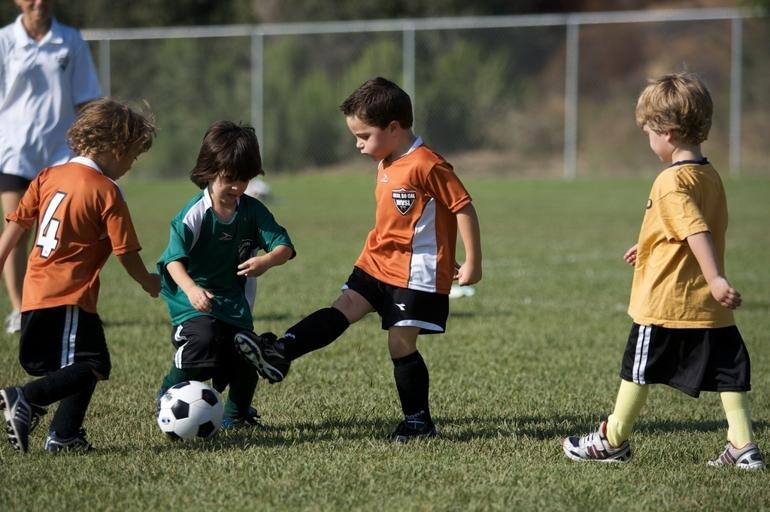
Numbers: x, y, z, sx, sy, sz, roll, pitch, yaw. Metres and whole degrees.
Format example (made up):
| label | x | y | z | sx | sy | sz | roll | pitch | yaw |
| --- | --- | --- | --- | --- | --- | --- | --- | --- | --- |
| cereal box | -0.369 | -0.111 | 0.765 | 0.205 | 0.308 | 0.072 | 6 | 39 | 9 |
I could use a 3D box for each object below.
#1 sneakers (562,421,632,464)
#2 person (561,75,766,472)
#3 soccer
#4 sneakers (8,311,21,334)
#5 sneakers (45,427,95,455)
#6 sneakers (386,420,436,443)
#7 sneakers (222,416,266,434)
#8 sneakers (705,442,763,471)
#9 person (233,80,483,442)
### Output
| label | x | y | z | sx | sy | sz | roll | pitch | yaw |
| --- | --- | --- | --- | --- | --- | --- | --- | --- | --- |
| sneakers | 1.359 | 1.224 | 6.882 | 0.474 | 0.235 | 0.204 | 3 | 2 | 3 |
| person | 1.883 | 0.109 | 6.707 | 1.099 | 2.431 | 0.676 | 5 | 14 | 11 |
| soccer | -1.297 | 1.044 | 7.057 | 0.452 | 0.451 | 0.433 | -2 | 13 | -15 |
| sneakers | -3.079 | 0.560 | 8.708 | 0.120 | 0.138 | 0.329 | 0 | -7 | -21 |
| sneakers | -2.032 | 1.205 | 6.802 | 0.366 | 0.157 | 0.121 | 0 | 4 | -26 |
| sneakers | 0.180 | 1.164 | 6.965 | 0.284 | 0.102 | 0.139 | 3 | -4 | -32 |
| sneakers | -0.963 | 1.158 | 7.166 | 0.309 | 0.137 | 0.102 | 11 | -12 | -24 |
| sneakers | 2.270 | 1.302 | 6.800 | 0.385 | 0.184 | 0.150 | -1 | -6 | 25 |
| person | -0.019 | 0.010 | 6.991 | 1.315 | 2.306 | 0.720 | 3 | 14 | 4 |
